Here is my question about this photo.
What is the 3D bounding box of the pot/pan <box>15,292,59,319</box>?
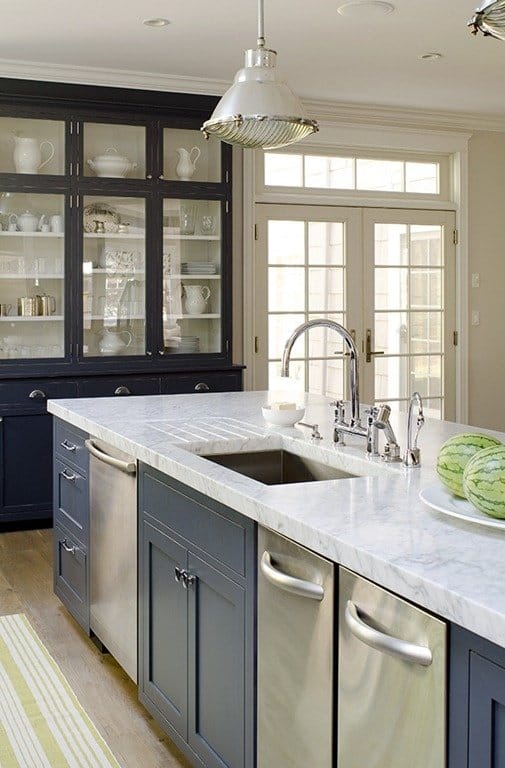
[{"bbox_3d":[-1.361,-0.495,3.869,0.211,0.164,0.124,1,-1,-29],"label":"pot/pan"}]

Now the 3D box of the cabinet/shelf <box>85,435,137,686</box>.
[{"bbox_3d":[-0.460,0.568,2.029,0.228,0.731,0.382,-2,7,-30],"label":"cabinet/shelf"}]

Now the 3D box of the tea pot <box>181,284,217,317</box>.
[{"bbox_3d":[-0.373,-0.571,4.176,0.203,0.213,0.158,2,-3,-18],"label":"tea pot"}]

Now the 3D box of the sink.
[{"bbox_3d":[0.092,0.207,1.816,0.424,0.155,0.526,-2,5,-28],"label":"sink"}]

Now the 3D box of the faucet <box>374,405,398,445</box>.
[{"bbox_3d":[0.365,0.116,1.681,0.024,0.112,0.043,-6,-13,-2],"label":"faucet"}]

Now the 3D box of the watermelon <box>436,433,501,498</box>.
[{"bbox_3d":[0.375,0.124,1.080,0.100,0.117,0.081,9,14,41],"label":"watermelon"}]

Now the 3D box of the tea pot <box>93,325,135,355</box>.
[{"bbox_3d":[-0.897,-0.285,3.992,0.172,0.188,0.139,3,-3,-26],"label":"tea pot"}]
